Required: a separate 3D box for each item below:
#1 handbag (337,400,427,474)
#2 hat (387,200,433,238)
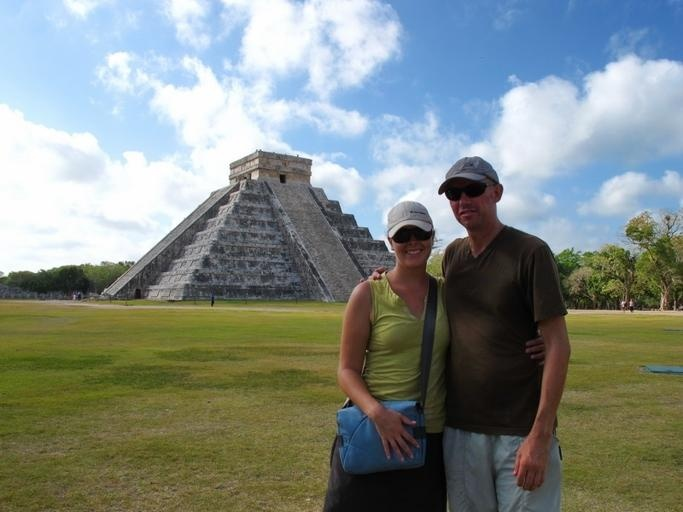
[{"bbox_3d":[0.245,1.128,2.763,0.459,0.472,0.169,0,-1,3],"label":"handbag"},{"bbox_3d":[0.472,-0.205,3.200,0.363,0.290,0.524,0,-6,5],"label":"hat"}]
